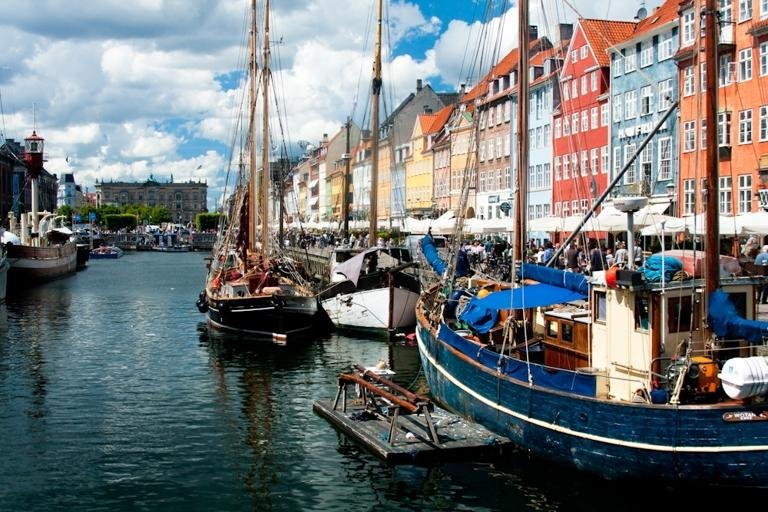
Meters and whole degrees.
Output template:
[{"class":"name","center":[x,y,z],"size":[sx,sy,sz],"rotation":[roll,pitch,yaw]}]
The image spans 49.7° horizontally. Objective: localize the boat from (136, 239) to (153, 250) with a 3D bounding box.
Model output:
[{"class":"boat","center":[-54.637,-2.017,188.130],"size":[2.851,2.650,14.330],"rotation":[-1,2,-15]}]
